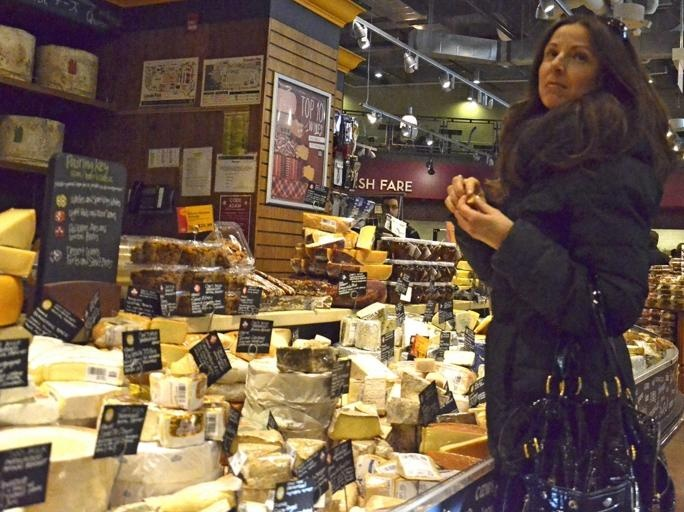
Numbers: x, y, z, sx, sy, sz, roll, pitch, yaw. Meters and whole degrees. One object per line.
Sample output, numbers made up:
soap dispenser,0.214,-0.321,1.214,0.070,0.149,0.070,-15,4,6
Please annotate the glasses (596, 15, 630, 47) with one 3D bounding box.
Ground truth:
glasses,0.735,-0.632,1.476,0.083,0.094,0.032,-28,-10,-49
